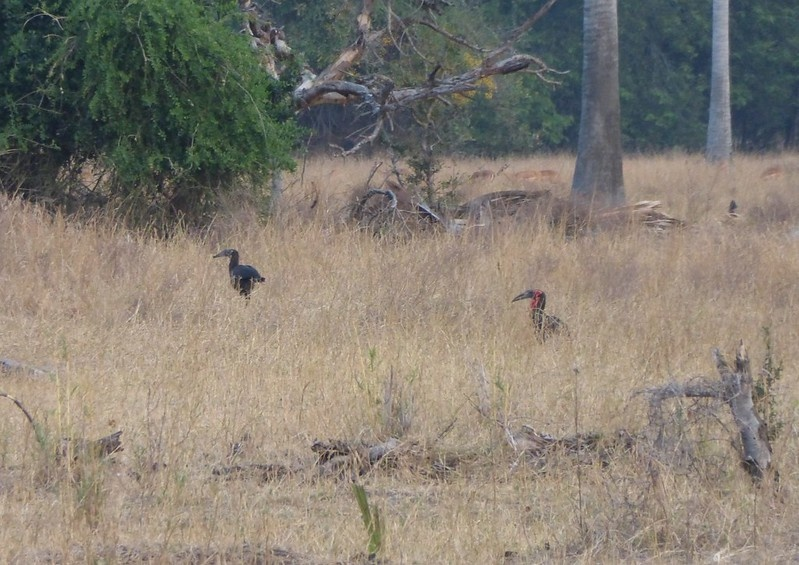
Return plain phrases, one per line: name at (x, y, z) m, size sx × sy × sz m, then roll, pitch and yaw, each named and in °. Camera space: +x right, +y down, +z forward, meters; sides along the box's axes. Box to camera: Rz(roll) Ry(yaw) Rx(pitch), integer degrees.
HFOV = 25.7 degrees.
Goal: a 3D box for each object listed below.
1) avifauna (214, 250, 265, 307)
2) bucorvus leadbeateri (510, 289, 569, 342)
avifauna at (-3.105, -0.115, 33.798) m, size 0.788 × 1.118 × 0.458 m, roll -2°, pitch -24°, yaw -15°
bucorvus leadbeateri at (2.650, 0.528, 32.481) m, size 0.906 × 1.266 × 0.443 m, roll -4°, pitch 40°, yaw 2°
